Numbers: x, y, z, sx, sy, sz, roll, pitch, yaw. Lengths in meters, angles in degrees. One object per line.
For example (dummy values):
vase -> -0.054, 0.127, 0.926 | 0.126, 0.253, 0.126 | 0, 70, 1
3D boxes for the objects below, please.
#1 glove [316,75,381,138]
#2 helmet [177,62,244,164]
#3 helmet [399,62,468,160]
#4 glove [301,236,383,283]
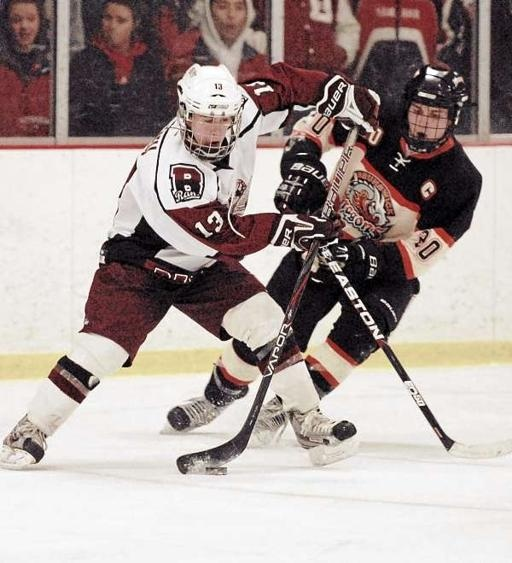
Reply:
glove -> 0.303, -0.582, 2.533 | 0.246, 0.135, 0.100 | 26, -14, -33
helmet -> -0.135, -0.502, 2.231 | 0.197, 0.298, 0.188 | 1, 6, -5
helmet -> 0.581, -0.576, 2.521 | 0.205, 0.286, 0.110 | 2, 6, 7
glove -> 0.278, -0.073, 2.583 | 0.218, 0.075, 0.154 | 0, 6, -39
